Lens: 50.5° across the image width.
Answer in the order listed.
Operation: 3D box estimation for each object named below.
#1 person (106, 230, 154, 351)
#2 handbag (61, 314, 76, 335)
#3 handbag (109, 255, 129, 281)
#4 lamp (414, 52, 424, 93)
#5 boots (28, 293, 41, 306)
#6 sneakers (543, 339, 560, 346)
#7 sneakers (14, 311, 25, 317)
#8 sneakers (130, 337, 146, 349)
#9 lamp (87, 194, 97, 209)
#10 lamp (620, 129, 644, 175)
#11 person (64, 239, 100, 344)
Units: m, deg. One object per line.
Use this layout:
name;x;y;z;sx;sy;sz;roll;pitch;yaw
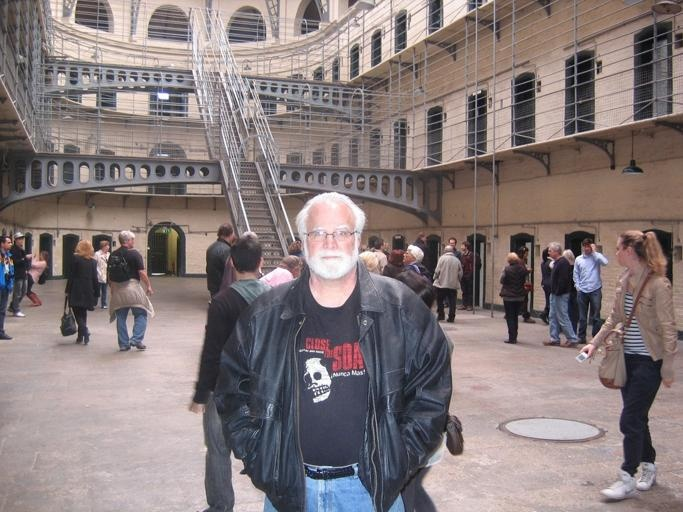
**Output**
person;-3.641;0.626;12.642;0.700;2.118;0.653;1;5;4
handbag;-4.913;1.230;13.077;0.182;0.341;0.337;4;-14;-26
handbag;-3.787;0.219;12.361;0.313;0.454;0.141;1;5;-1
lamp;2.538;-5.882;23.822;0.291;1.066;0.753;1;5;5
boots;-8.398;1.188;19.841;0.199;0.382;0.386;-4;-21;-8
sneakers;4.052;1.695;14.084;0.356;0.156;0.116;5;-1;7
sneakers;-7.504;1.356;16.891;0.107;0.118;0.313;7;-10;-42
sneakers;-3.611;1.561;12.967;0.138;0.195;0.419;1;-3;16
lamp;-10.860;-2.406;31.694;0.239;0.647;0.425;5;7;38
lamp;6.227;-2.242;15.458;0.391;0.949;1.465;3;5;22
person;-4.747;0.679;13.301;0.574;1.908;0.610;-1;6;-19
